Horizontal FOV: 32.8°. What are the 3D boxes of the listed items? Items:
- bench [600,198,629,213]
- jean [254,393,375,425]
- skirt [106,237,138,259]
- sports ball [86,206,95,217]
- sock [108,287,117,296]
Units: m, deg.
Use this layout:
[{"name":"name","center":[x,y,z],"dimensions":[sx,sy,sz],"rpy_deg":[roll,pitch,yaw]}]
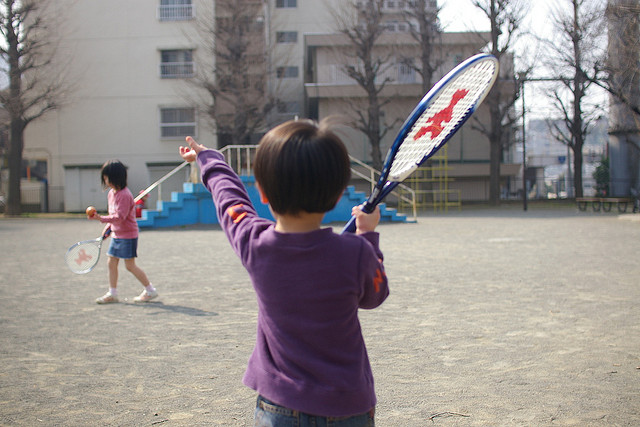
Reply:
[{"name":"bench","center":[14.086,-0.386,52.373],"dimensions":[1.316,0.663,4.578],"rpy_deg":[-1,0,16]},{"name":"jean","center":[-0.386,5.879,32.395],"dimensions":[3.189,0.909,0.092],"rpy_deg":[-1,0,1]},{"name":"skirt","center":[-6.670,1.402,36.316],"dimensions":[1.069,1.000,0.613],"rpy_deg":[2,-10,-2]},{"name":"sports ball","center":[-8.362,-0.067,39.300],"dimensions":[0.377,0.346,0.345],"rpy_deg":[5,34,-3]},{"name":"sock","center":[-6.955,2.624,36.268],"dimensions":[0.242,0.288,0.250],"rpy_deg":[-1,-6,-4]}]
